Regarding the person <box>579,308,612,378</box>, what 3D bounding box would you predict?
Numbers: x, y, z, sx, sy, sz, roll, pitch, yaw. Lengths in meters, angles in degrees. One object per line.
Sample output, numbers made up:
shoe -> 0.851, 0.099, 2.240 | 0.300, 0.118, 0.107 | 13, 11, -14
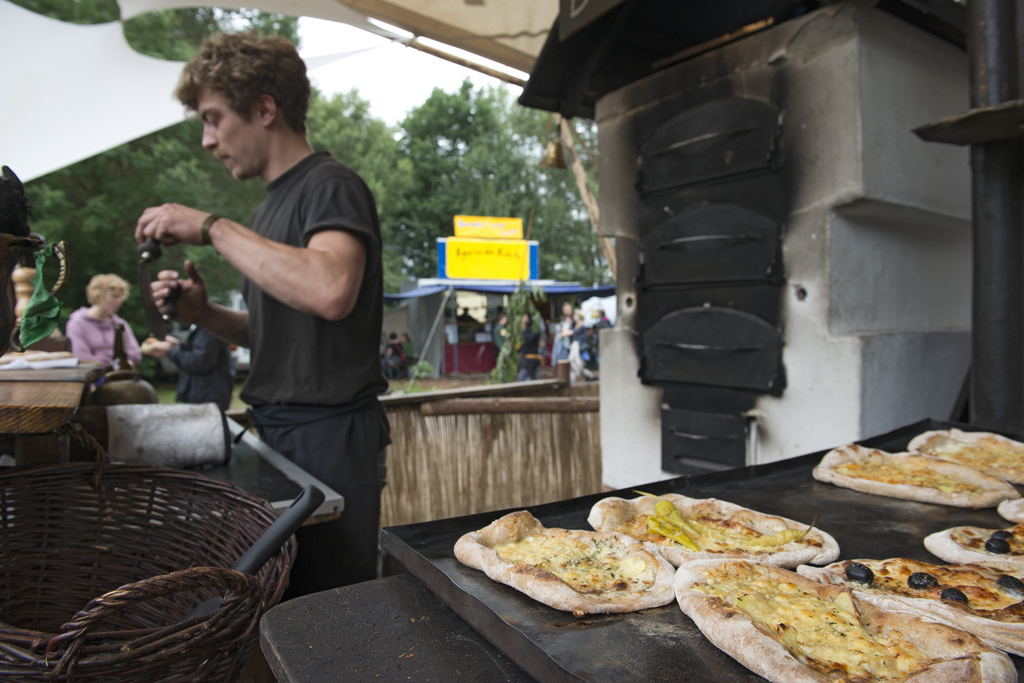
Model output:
person -> 0.960, -0.005, 9.596 | 0.230, 0.785, 0.542 | 2, 3, -29

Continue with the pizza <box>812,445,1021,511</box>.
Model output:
pizza -> 1.652, 0.572, 3.221 | 0.531, 0.095, 0.344 | 7, 4, 33

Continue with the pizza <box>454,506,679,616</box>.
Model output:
pizza -> 0.180, 0.745, 2.595 | 0.723, 0.230, 0.396 | -1, 0, 12

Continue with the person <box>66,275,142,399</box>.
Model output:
person -> -3.384, -0.187, 6.414 | 0.530, 1.088, 2.114 | -1, 0, -26

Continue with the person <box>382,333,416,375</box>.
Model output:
person -> -1.709, 0.203, 11.664 | 0.570, 0.576, 1.068 | -2, -12, -4

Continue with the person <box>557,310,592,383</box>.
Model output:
person -> 0.775, 0.048, 9.163 | 0.327, 0.640, 0.704 | -1, 0, 11

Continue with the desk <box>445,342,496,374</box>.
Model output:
desk -> -0.580, 0.178, 12.128 | 0.672, 0.336, 0.519 | 1, -3, -26

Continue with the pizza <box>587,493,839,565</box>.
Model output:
pizza -> 0.769, 0.707, 2.814 | 0.522, 0.109, 0.365 | 8, 10, 23
